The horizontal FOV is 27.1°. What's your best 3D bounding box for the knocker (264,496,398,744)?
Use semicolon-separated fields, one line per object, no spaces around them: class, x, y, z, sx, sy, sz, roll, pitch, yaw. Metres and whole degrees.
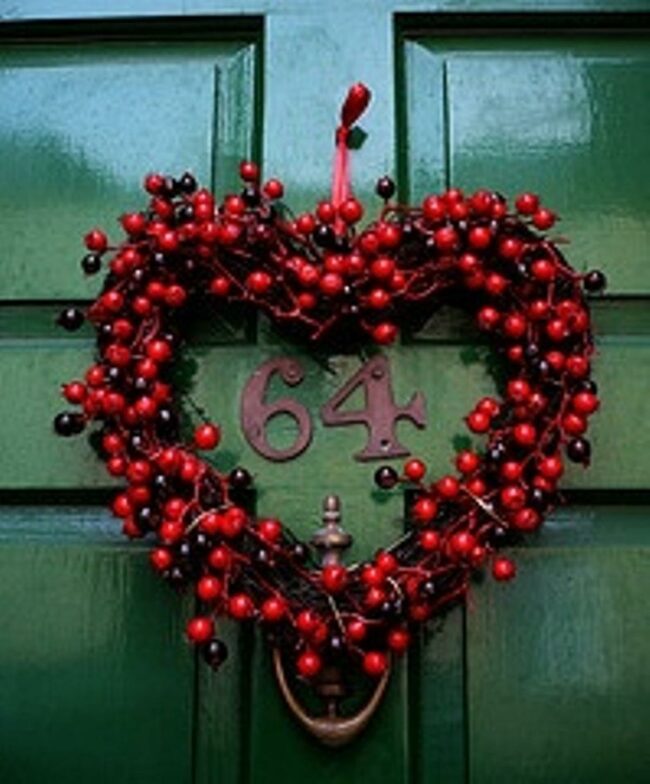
knocker;0.007;0.265;1.643;0.195;0.267;0.249;1;6;2
